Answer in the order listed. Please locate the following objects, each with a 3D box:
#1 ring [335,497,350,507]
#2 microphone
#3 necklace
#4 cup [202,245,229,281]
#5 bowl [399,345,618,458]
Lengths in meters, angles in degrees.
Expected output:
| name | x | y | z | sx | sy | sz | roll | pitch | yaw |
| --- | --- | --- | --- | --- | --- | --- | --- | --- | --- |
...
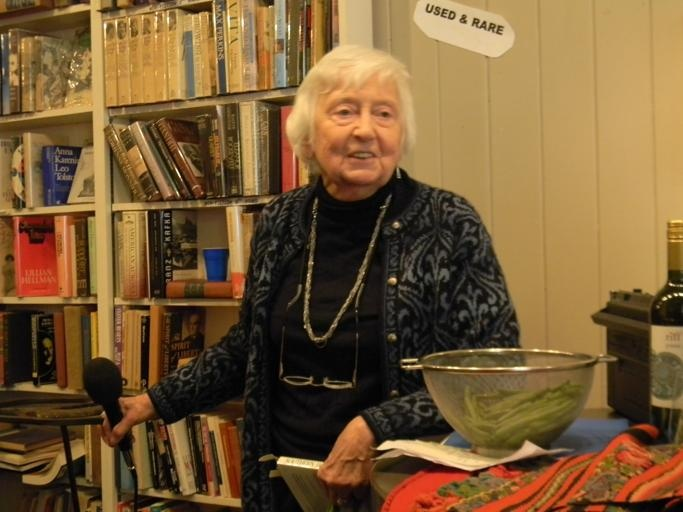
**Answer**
| name | x | y | z | sx | sy | sz | roll | pitch | yaw |
| --- | --- | --- | --- | --- | --- | --- | --- | --- | --- |
| ring | 0.004 | 0.576 | 1.679 | 0.030 | 0.018 | 0.009 | -1 | 0 | -2 |
| microphone | -0.639 | 0.431 | 1.970 | 0.128 | 0.330 | 0.272 | -1 | 0 | -18 |
| necklace | 0.022 | 0.071 | 2.017 | 0.155 | 0.533 | 0.057 | 6 | -22 | 26 |
| cup | -0.468 | 0.028 | 2.737 | 0.107 | 0.110 | 0.109 | 0 | -4 | 0 |
| bowl | 0.376 | 0.349 | 1.643 | 0.546 | 0.222 | 0.475 | 0 | -10 | -45 |
